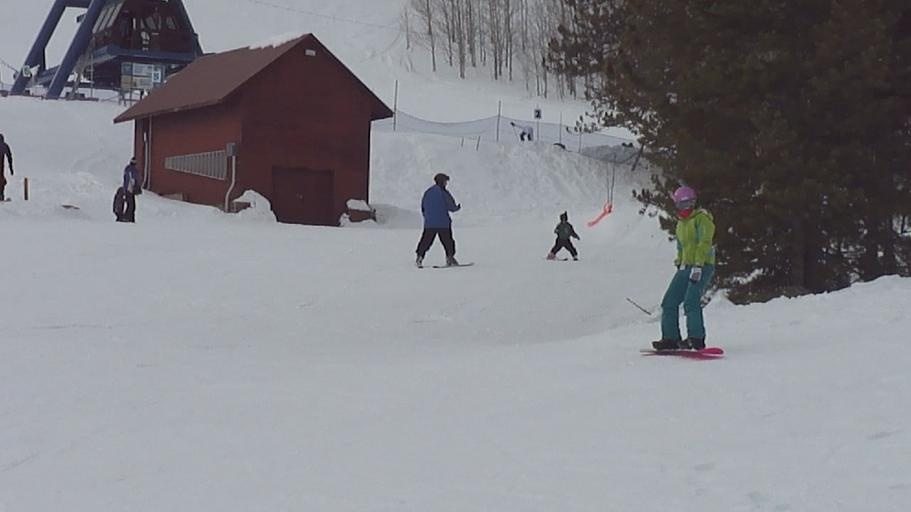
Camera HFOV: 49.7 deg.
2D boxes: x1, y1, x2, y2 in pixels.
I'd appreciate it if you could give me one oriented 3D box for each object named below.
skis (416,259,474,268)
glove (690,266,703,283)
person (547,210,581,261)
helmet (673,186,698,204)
[{"bbox_3d":[-0.341,0.219,25.391,1.994,0.263,0.169,0,9,10],"label":"skis"},{"bbox_3d":[4.482,0.348,18.427,0.235,0.220,0.254,12,50,0],"label":"glove"},{"bbox_3d":[3.279,-0.585,30.316,0.927,1.492,0.778,17,40,32],"label":"person"},{"bbox_3d":[4.303,-1.149,18.659,0.386,0.361,0.316,10,6,17],"label":"helmet"}]
